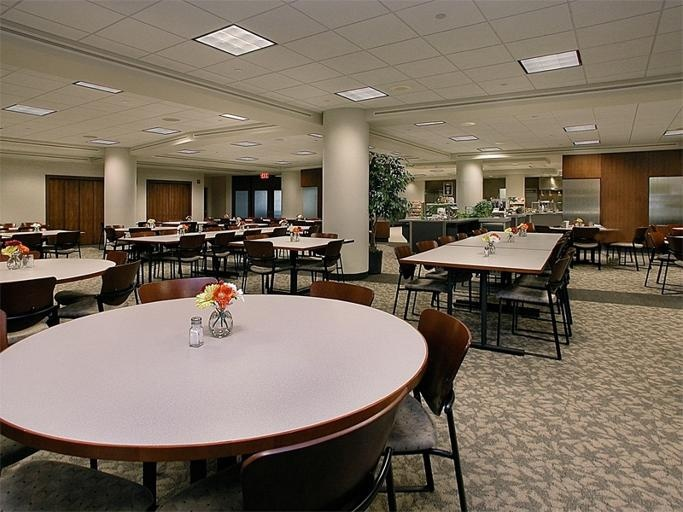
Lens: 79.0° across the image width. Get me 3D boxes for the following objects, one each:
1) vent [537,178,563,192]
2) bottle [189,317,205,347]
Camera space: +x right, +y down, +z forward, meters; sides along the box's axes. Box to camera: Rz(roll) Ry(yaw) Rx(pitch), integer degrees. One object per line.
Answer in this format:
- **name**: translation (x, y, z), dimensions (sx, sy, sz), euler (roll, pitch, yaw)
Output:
- **vent**: translation (11.937, -4.119, 23.561), dimensions (1.330, 0.888, 0.732), euler (-2, -3, 38)
- **bottle**: translation (-0.743, 0.372, 2.102), dimensions (0.068, 0.138, 0.180), euler (-3, 4, -19)
